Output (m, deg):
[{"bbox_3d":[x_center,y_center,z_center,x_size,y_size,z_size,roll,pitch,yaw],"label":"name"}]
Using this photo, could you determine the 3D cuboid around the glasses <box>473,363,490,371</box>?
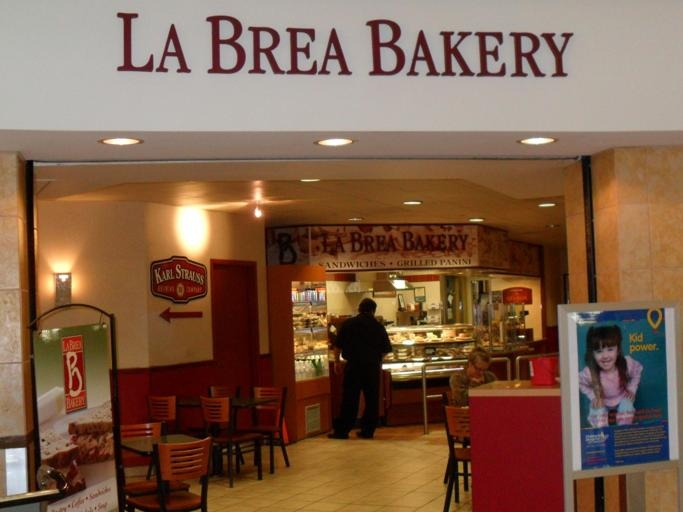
[{"bbox_3d":[1.541,1.228,7.122,0.123,0.045,0.123,0,-2,-10],"label":"glasses"}]

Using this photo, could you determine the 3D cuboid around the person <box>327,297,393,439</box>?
[{"bbox_3d":[0.308,1.751,10.081,0.951,2.164,0.472,-2,-4,2],"label":"person"}]

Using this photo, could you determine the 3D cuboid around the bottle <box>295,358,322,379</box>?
[{"bbox_3d":[-0.541,1.782,10.198,0.286,0.130,0.392,0,3,11],"label":"bottle"}]

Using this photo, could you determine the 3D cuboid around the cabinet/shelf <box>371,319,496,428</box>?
[{"bbox_3d":[2.038,2.163,11.272,1.463,1.674,2.415,16,-19,-35],"label":"cabinet/shelf"}]
